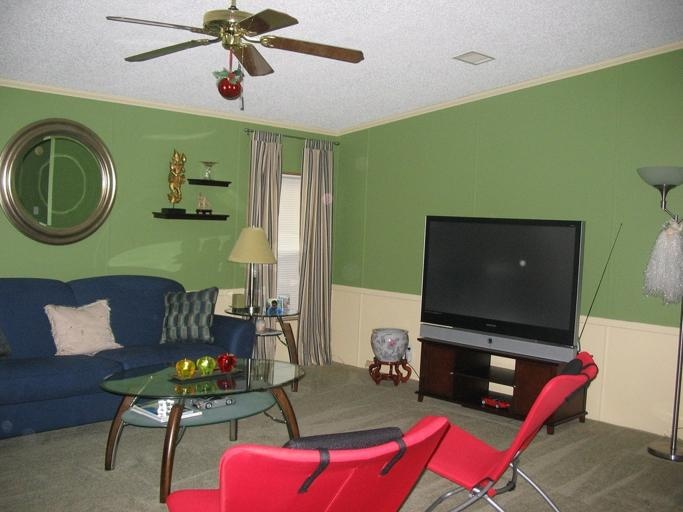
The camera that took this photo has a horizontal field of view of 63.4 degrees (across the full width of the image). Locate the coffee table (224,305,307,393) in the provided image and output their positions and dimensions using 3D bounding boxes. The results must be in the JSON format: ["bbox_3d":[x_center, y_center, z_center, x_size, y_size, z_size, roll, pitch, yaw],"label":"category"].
[{"bbox_3d":[-0.855,1.036,6.298,0.992,0.954,0.896,3,-4,-24],"label":"coffee table"}]

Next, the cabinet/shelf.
[{"bbox_3d":[1.525,0.898,5.333,1.455,0.654,0.755,2,0,44],"label":"cabinet/shelf"}]

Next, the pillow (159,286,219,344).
[{"bbox_3d":[-1.494,0.571,5.424,0.581,0.491,0.152,-5,-22,18],"label":"pillow"}]

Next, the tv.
[{"bbox_3d":[1.546,0.330,5.154,1.628,1.224,0.162,2,2,40],"label":"tv"}]
